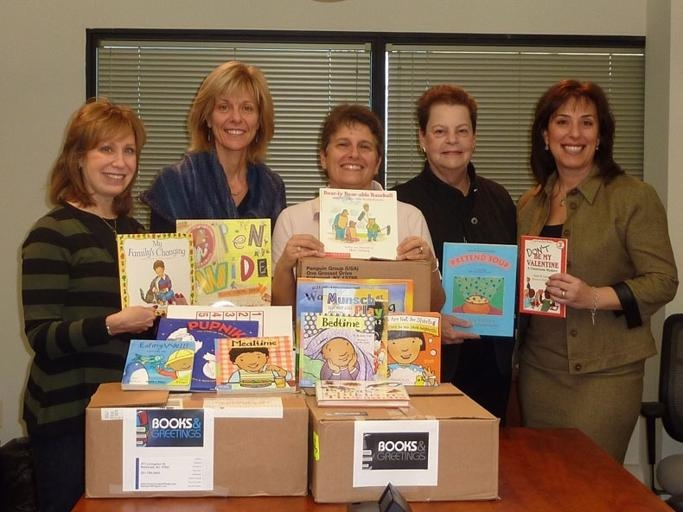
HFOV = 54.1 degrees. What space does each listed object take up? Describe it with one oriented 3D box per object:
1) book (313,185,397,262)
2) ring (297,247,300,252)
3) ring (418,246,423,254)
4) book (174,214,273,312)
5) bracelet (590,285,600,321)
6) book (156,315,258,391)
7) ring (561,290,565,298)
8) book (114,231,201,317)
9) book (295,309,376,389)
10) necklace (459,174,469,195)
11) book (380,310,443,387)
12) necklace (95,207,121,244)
[{"bbox_3d":[0.055,-0.117,2.580,0.315,0.281,0.044,0,-7,-2],"label":"book"},{"bbox_3d":[-0.170,-0.029,2.609,0.018,0.017,0.005,0,-4,-7],"label":"ring"},{"bbox_3d":[0.310,-0.024,2.612,0.020,0.021,0.021,1,-5,0],"label":"ring"},{"bbox_3d":[-0.468,0.038,2.630,0.338,0.338,0.033,-1,0,-3],"label":"book"},{"bbox_3d":[1.129,0.224,2.973,0.029,0.172,0.105,-1,8,19],"label":"bracelet"},{"bbox_3d":[-0.481,0.285,2.202,0.333,0.235,0.066,0,-25,0],"label":"book"},{"bbox_3d":[0.967,0.163,2.912,0.005,0.021,0.021,0,-2,-41],"label":"ring"},{"bbox_3d":[-0.695,0.070,2.553,0.318,0.368,0.036,-2,4,-8],"label":"book"},{"bbox_3d":[-0.019,0.334,2.336,0.255,0.232,0.036,0,-7,-2],"label":"book"},{"bbox_3d":[0.630,-0.366,3.421,0.072,0.095,0.064,-3,-8,20],"label":"necklace"},{"bbox_3d":[0.242,0.332,2.379,0.272,0.310,0.042,0,-1,2],"label":"book"},{"bbox_3d":[-1.022,-0.130,2.906,0.081,0.130,0.137,-26,-23,33],"label":"necklace"}]
